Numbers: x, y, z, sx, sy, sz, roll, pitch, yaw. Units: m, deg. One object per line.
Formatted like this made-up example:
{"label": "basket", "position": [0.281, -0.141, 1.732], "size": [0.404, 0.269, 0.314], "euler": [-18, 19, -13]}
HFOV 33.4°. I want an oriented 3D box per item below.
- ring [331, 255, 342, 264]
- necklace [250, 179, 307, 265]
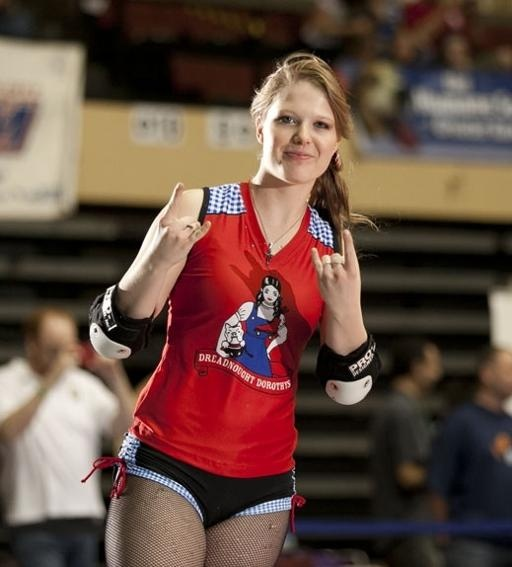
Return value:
{"label": "ring", "position": [0.291, -0.088, 3.065], "size": [0.038, 0.022, 0.034], "euler": [6, -9, -20]}
{"label": "necklace", "position": [0.086, -0.226, 3.193], "size": [0.193, 0.279, 0.068], "euler": [19, -19, -8]}
